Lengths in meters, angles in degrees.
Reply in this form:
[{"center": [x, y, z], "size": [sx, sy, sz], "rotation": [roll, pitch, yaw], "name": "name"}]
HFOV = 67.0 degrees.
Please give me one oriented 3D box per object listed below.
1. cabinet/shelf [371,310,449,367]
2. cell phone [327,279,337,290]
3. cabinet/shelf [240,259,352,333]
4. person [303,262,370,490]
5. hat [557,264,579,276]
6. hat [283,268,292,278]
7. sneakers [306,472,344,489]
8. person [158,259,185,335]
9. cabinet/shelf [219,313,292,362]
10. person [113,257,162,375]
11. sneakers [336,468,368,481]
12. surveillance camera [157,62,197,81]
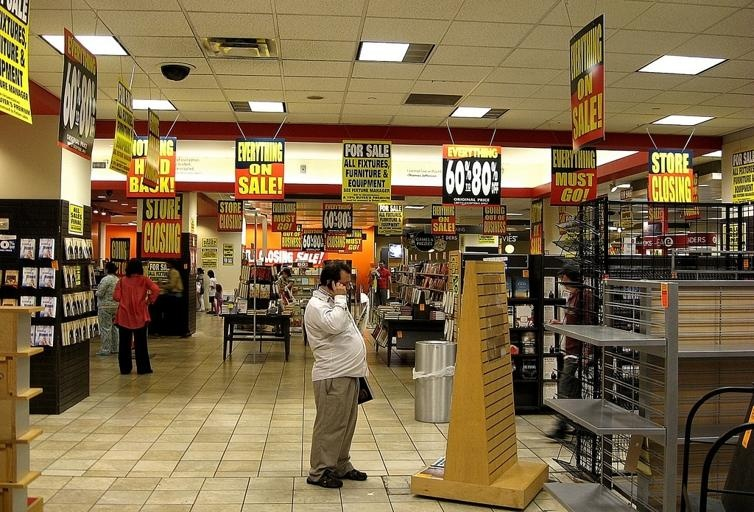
[{"center": [0.800, 1.607, 12.323], "size": [1.156, 0.680, 1.457], "rotation": [1, -2, -7], "name": "cabinet/shelf"}, {"center": [-0.467, 0.290, 5.871], "size": [0.094, 0.094, 0.073], "rotation": [23, 23, 32], "name": "cell phone"}, {"center": [-1.799, 0.816, 11.395], "size": [2.313, 0.932, 2.261], "rotation": [-1, -2, 6], "name": "cabinet/shelf"}, {"center": [-0.422, 1.193, 5.840], "size": [0.618, 1.744, 0.394], "rotation": [0, 0, -10], "name": "person"}, {"center": [2.377, 0.160, 7.003], "size": [0.221, 0.095, 0.308], "rotation": [1, 0, 2], "name": "hat"}, {"center": [-2.493, 0.459, 15.915], "size": [0.223, 0.252, 0.260], "rotation": [-1, 27, -4], "name": "hat"}, {"center": [-0.524, 2.249, 5.803], "size": [0.385, 0.161, 0.142], "rotation": [0, 2, 9], "name": "sneakers"}, {"center": [-5.734, 1.166, 15.908], "size": [0.682, 1.862, 0.342], "rotation": [0, 0, -11], "name": "person"}, {"center": [-2.782, 1.791, 12.988], "size": [1.538, 0.852, 1.413], "rotation": [2, -3, -17], "name": "cabinet/shelf"}, {"center": [-4.564, 1.126, 10.771], "size": [0.753, 2.048, 0.796], "rotation": [0, 0, -22], "name": "person"}, {"center": [-0.238, 2.287, 5.985], "size": [0.249, 0.093, 0.116], "rotation": [-1, -2, 2], "name": "sneakers"}, {"center": [-3.101, -2.851, 8.724], "size": [0.307, 0.105, 0.302], "rotation": [-2, 1, 18], "name": "surveillance camera"}]
